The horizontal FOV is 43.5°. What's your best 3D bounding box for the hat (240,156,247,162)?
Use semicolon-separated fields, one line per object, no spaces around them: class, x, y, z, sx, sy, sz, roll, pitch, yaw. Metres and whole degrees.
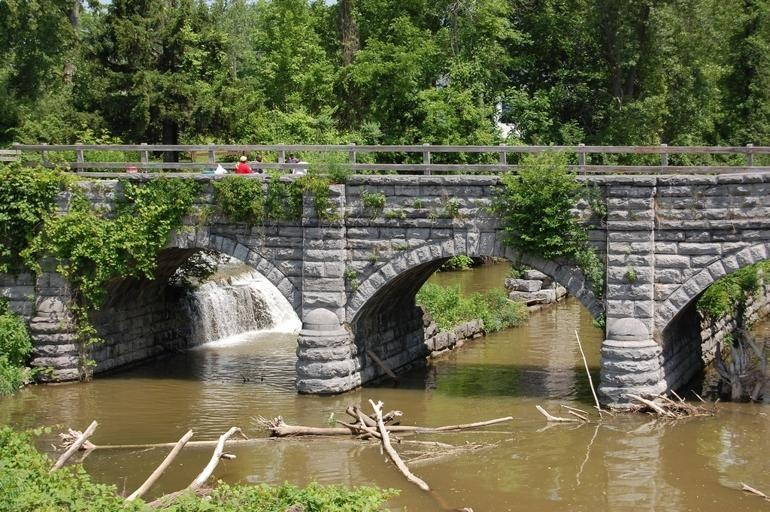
hat;-4.316;-2.989;29.188;0.321;0.122;0.437;1;-5;-6

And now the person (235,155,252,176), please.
person;-4.248;-2.683;28.869;0.530;0.471;1.422;-3;14;-7
